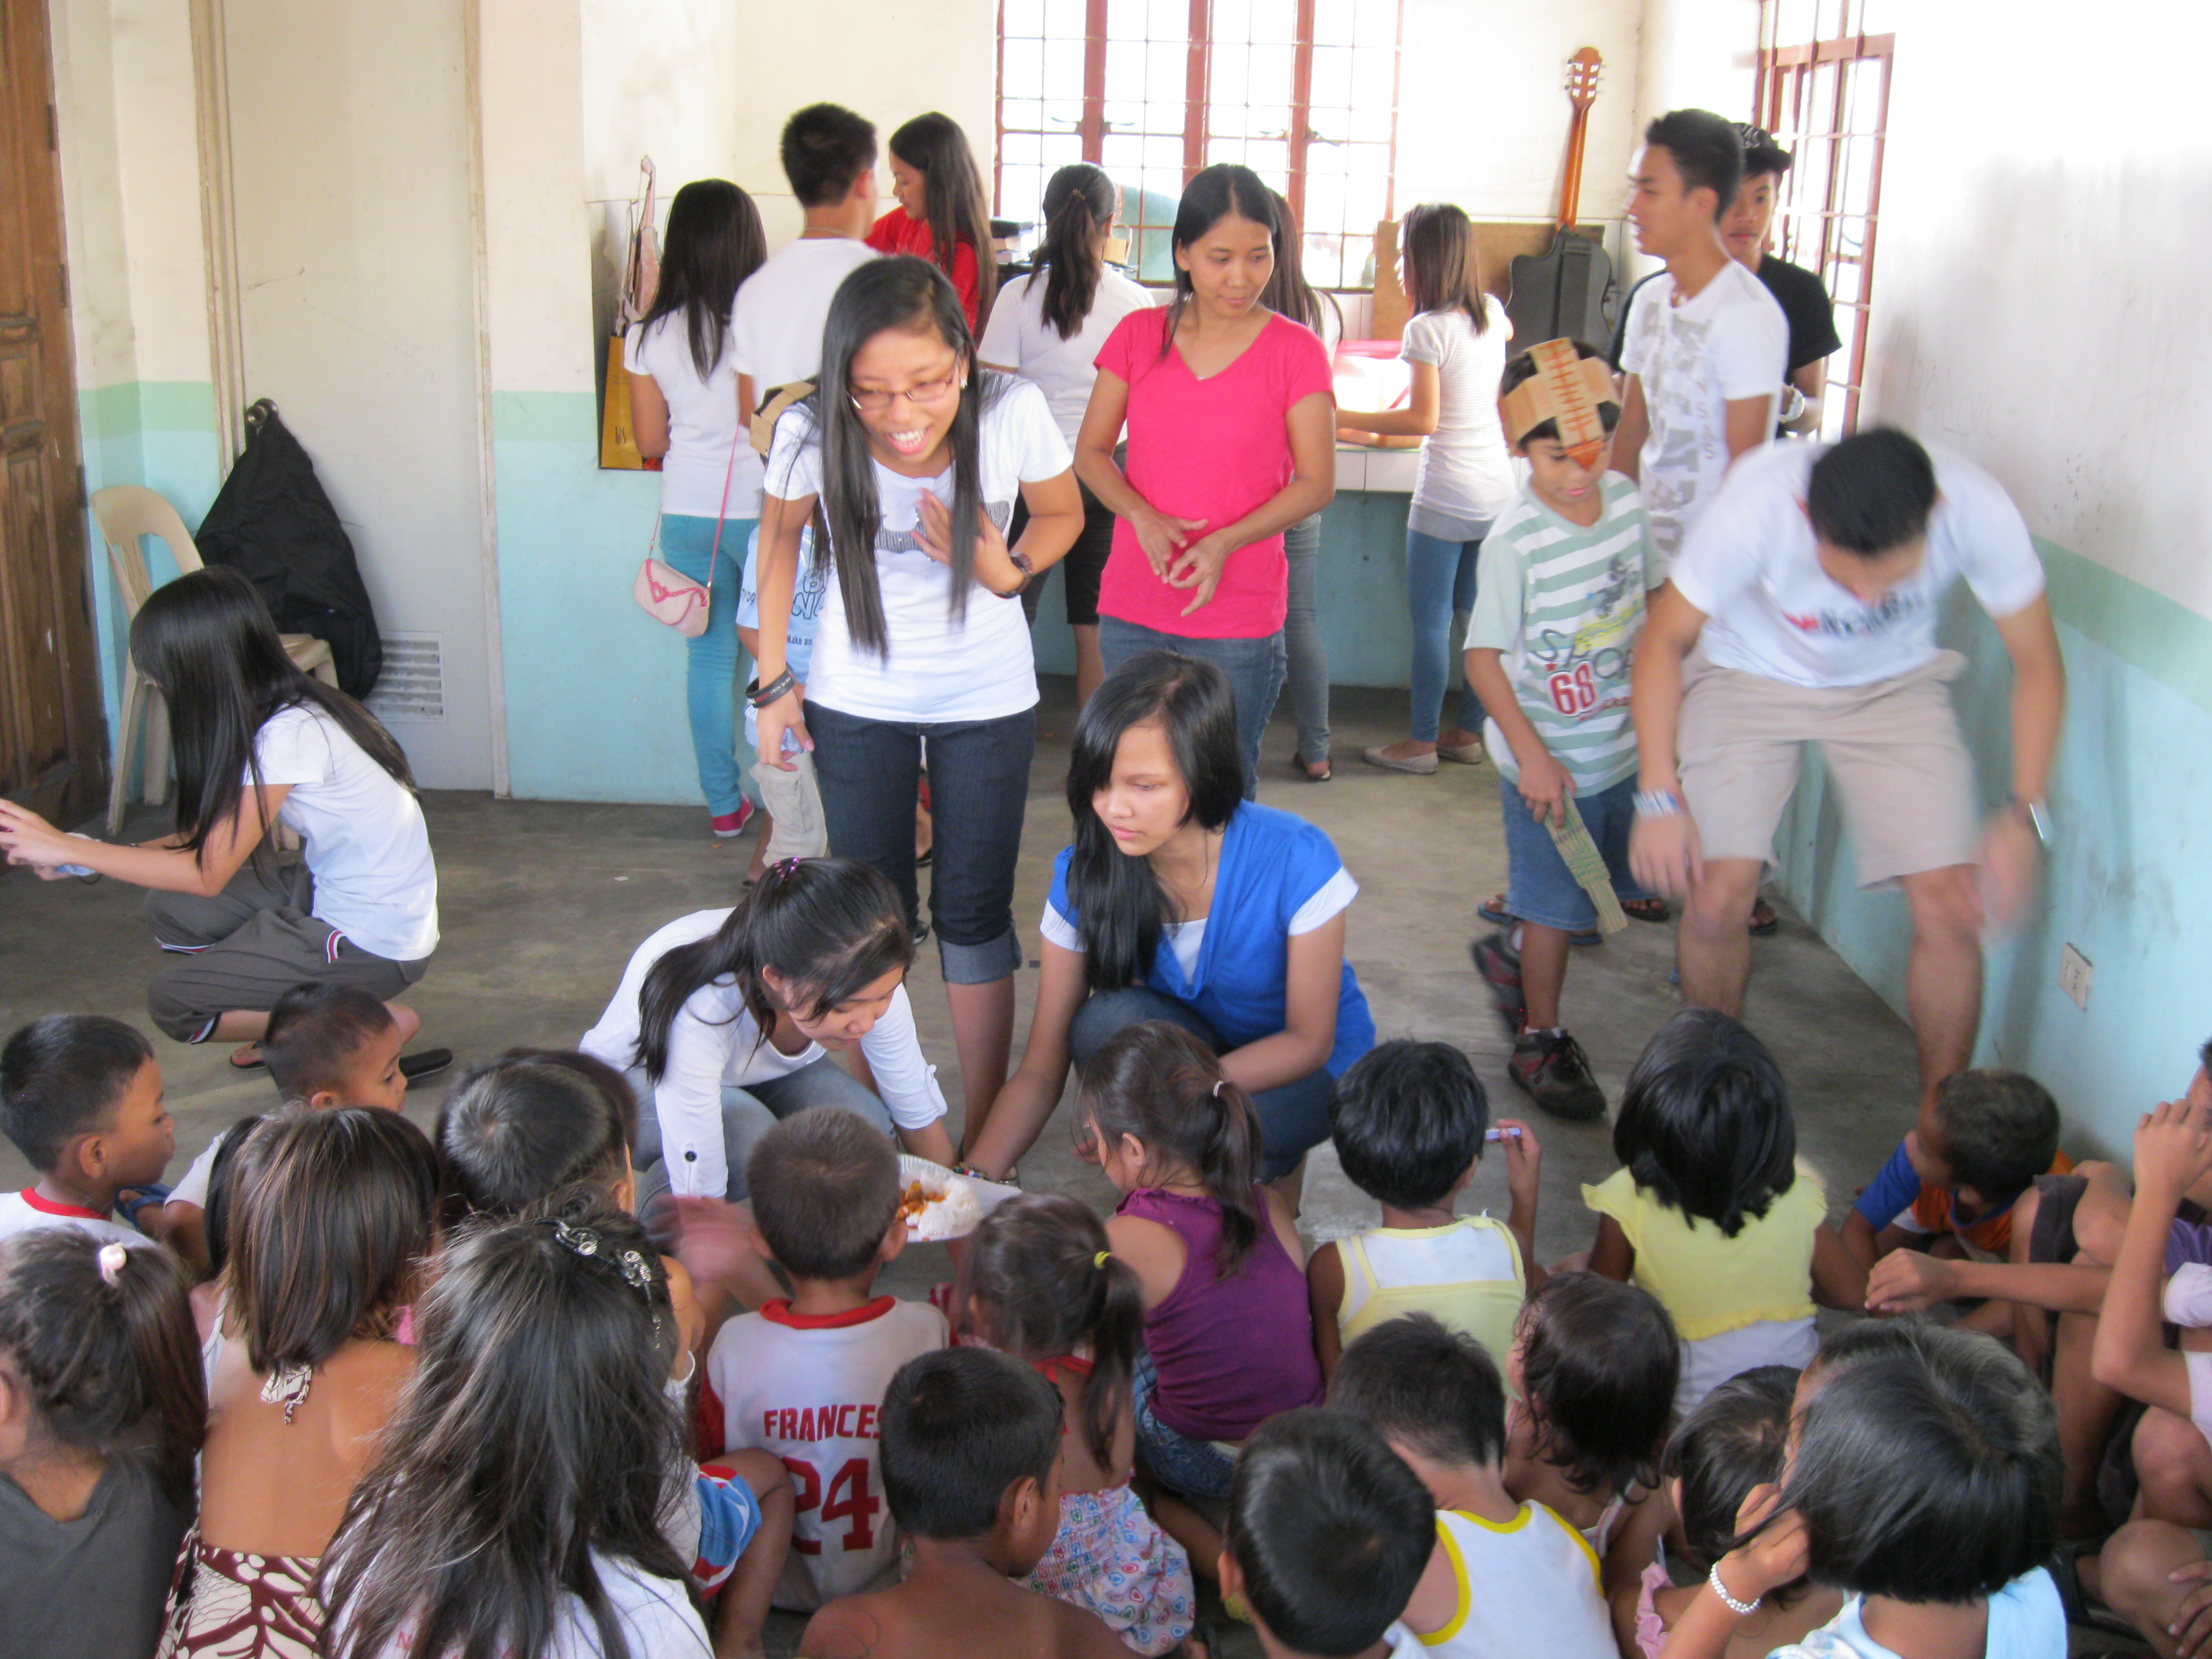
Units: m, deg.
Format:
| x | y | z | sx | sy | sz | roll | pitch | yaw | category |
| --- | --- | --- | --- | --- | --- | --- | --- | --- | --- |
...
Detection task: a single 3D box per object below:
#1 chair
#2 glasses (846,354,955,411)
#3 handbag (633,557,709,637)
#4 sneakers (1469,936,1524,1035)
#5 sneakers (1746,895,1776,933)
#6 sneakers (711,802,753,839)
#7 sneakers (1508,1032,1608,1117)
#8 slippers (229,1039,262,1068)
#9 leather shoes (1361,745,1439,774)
| x | y | z | sx | sy | sz | roll | pitch | yaw | category |
| --- | --- | --- | --- | --- | --- | --- | --- | --- | --- |
| -2.778 | -0.533 | 5.139 | 0.551 | 0.996 | 0.627 | 4 | 5 | 42 | chair |
| -0.340 | -0.754 | 2.802 | 0.195 | 0.080 | 0.088 | -6 | 21 | -15 | glasses |
| -1.272 | -0.687 | 4.762 | 0.211 | 0.158 | 0.095 | 29 | 17 | 11 | handbag |
| 0.971 | 0.377 | 4.053 | 0.097 | 0.233 | 0.082 | -20 | -4 | 18 | sneakers |
| 1.705 | 0.223 | 4.274 | 0.059 | 0.052 | 0.181 | -6 | 24 | 11 | sneakers |
| -1.162 | -0.033 | 5.059 | 0.064 | 0.078 | 0.188 | 3 | 15 | 11 | sneakers |
| 0.994 | 0.535 | 3.620 | 0.114 | 0.095 | 0.229 | -19 | 33 | -19 | sneakers |
| -1.929 | 0.500 | 3.651 | 0.055 | 0.038 | 0.103 | 2 | 3 | -15 | slippers |
| 1.025 | -0.260 | 5.773 | 0.211 | 0.094 | 0.105 | 5 | 10 | 11 | leather shoes |
